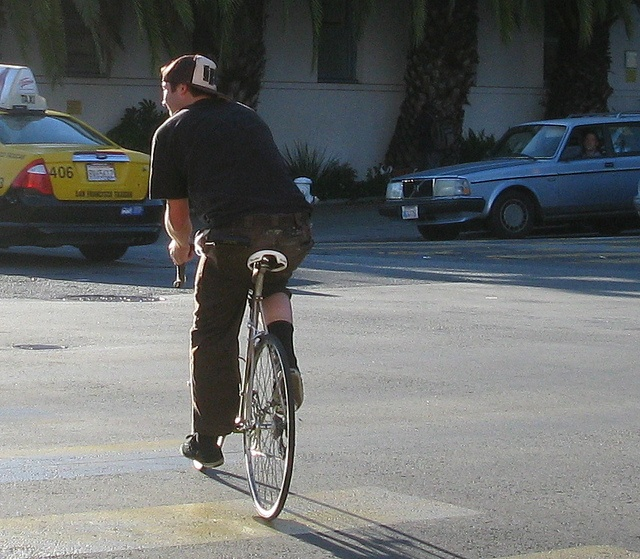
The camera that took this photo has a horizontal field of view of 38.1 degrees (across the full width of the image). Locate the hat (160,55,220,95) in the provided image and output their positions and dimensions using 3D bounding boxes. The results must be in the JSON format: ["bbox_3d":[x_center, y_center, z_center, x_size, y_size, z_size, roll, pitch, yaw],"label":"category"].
[{"bbox_3d":[-0.530,-0.875,3.954,0.320,0.167,0.236,17,20,39],"label":"hat"}]

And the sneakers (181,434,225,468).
[{"bbox_3d":[-0.506,0.720,3.974,0.091,0.105,0.243,-12,18,-34],"label":"sneakers"}]
